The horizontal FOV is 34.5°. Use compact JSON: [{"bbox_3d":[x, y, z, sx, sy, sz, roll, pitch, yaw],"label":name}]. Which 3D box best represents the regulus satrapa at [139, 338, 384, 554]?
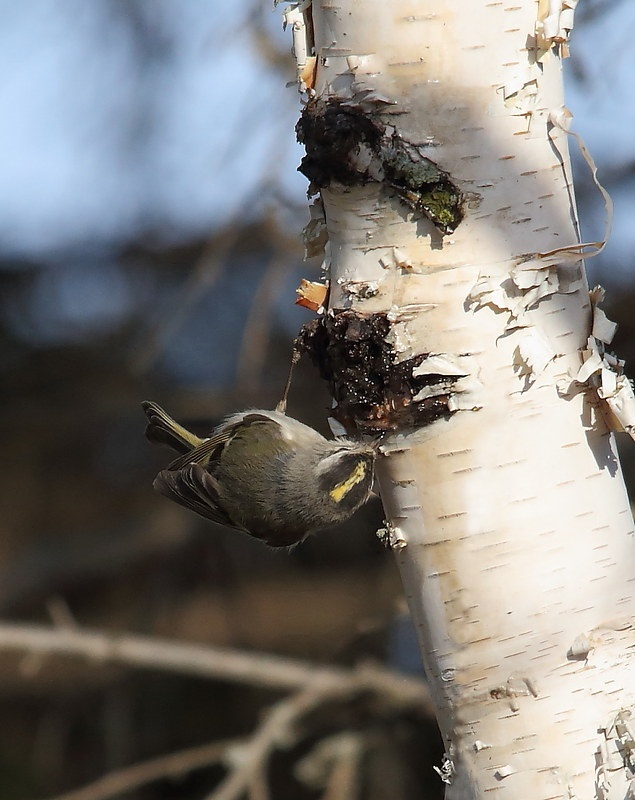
[{"bbox_3d":[-0.137,0.149,2.711,0.463,0.948,0.264,-7,101,-26],"label":"regulus satrapa"}]
